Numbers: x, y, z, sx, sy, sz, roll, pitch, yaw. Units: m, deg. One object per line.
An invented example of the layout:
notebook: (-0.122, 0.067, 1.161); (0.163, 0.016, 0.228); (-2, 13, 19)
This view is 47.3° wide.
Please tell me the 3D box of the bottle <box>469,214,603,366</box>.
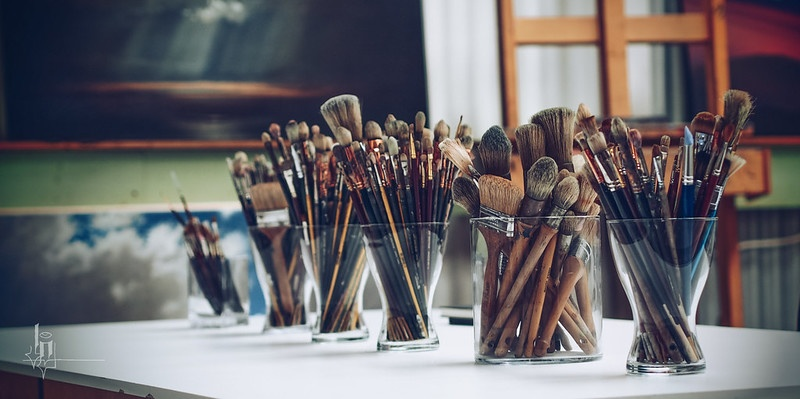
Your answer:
bottle: (0.423, 0.288, 3.056); (0.483, 0.488, 0.464); (-1, -3, 4)

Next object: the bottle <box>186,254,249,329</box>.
bottle: (-0.651, 0.358, 3.484); (0.275, 0.277, 0.260); (-1, -4, -5)
